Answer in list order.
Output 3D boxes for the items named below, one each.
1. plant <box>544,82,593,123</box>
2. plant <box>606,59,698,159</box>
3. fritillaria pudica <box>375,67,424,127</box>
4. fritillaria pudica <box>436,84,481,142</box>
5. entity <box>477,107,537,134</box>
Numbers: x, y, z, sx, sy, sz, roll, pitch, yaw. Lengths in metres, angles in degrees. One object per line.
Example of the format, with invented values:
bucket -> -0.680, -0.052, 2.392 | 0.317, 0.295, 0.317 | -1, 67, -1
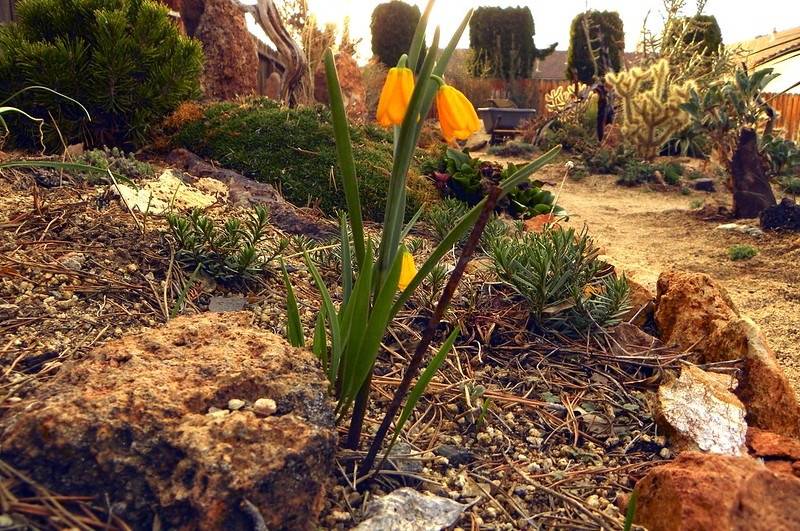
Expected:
plant -> 3.981, -3.852, 14.118 | 1.010, 0.899, 2.386 | 7, 21, 14
plant -> 4.907, -3.089, 11.883 | 1.523, 1.924, 0.876 | 17, 24, 36
fritillaria pudica -> -0.021, -0.730, 2.616 | 0.154, 0.264, 0.236 | 1, 20, -1
fritillaria pudica -> 0.254, -0.677, 2.673 | 0.188, 0.256, 0.226 | 10, 21, 23
entity -> 2.576, -3.863, 15.654 | 1.196, 0.532, 0.870 | -5, 13, -28
